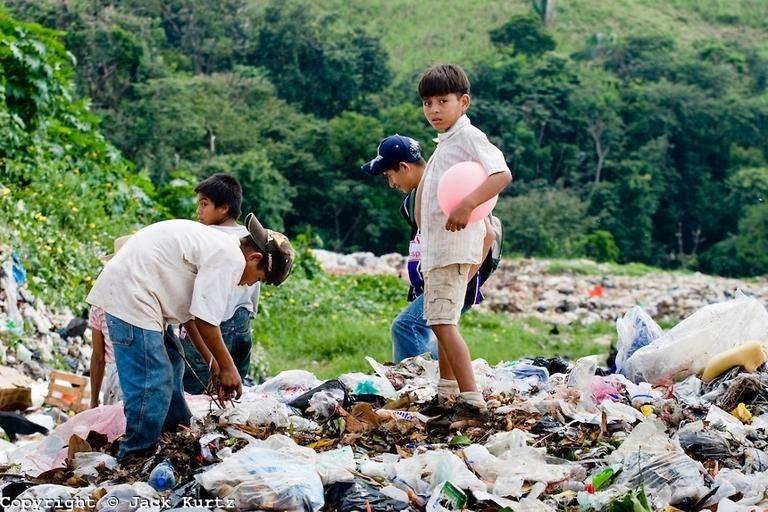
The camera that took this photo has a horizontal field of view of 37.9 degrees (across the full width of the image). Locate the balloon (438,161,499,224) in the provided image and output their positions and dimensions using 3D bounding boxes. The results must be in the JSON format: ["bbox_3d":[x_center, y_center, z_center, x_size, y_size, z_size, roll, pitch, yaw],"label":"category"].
[{"bbox_3d":[1.228,-0.967,16.931,0.875,0.910,0.344,4,8,1],"label":"balloon"}]

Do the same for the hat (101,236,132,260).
[{"bbox_3d":[-4.405,-0.134,18.272,0.293,0.153,0.402,-37,-7,38],"label":"hat"}]

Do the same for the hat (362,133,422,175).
[{"bbox_3d":[0.122,-1.643,17.849,0.844,0.513,0.547,-6,14,-1],"label":"hat"}]
